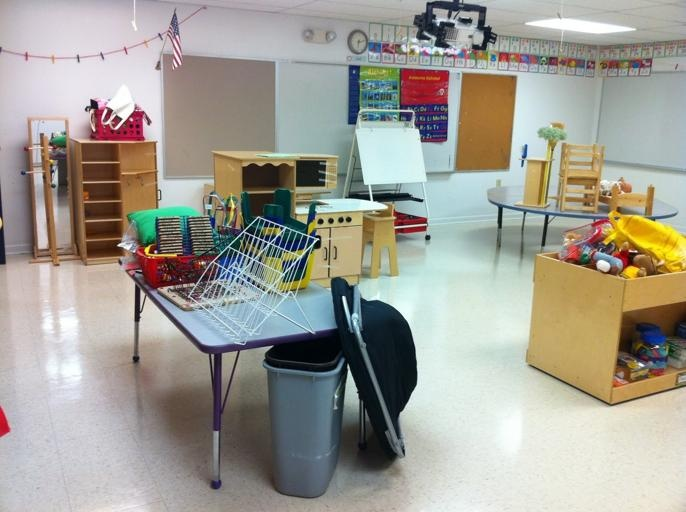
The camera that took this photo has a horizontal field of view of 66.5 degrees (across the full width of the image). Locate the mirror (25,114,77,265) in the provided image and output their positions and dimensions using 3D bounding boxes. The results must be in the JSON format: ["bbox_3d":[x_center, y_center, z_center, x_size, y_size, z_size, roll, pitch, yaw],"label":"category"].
[{"bbox_3d":[-3.456,-0.784,6.156,0.555,1.656,0.430,-6,13,-22],"label":"mirror"}]

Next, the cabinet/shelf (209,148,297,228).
[{"bbox_3d":[-0.757,-0.542,4.858,0.555,0.830,0.828,-6,17,-27],"label":"cabinet/shelf"}]

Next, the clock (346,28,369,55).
[{"bbox_3d":[0.222,-3.067,7.507,0.342,0.344,0.034,-7,13,-25],"label":"clock"}]

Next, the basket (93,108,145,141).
[{"bbox_3d":[-2.569,-1.479,6.058,0.452,0.297,0.456,-3,12,-24],"label":"basket"}]

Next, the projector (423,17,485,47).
[{"bbox_3d":[1.064,-2.070,4.998,0.484,0.230,0.486,-8,22,-24],"label":"projector"}]

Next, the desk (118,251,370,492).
[{"bbox_3d":[-0.744,0.557,3.376,1.005,0.777,1.644,-8,18,-38],"label":"desk"}]

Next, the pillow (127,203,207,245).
[{"bbox_3d":[-1.153,-0.195,3.414,0.411,0.209,0.577,-7,13,-27],"label":"pillow"}]

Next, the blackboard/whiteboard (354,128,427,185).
[{"bbox_3d":[0.689,-1.419,7.316,1.012,0.748,0.407,-6,13,-24],"label":"blackboard/whiteboard"}]

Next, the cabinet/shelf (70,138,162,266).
[{"bbox_3d":[-2.715,-0.746,6.335,0.841,1.370,0.420,-3,13,-29],"label":"cabinet/shelf"}]

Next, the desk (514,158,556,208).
[{"bbox_3d":[2.434,-0.918,6.563,0.520,0.755,0.526,6,12,24],"label":"desk"}]

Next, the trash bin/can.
[{"bbox_3d":[-0.180,0.835,2.767,0.425,0.741,0.381,-1,12,0],"label":"trash bin/can"}]

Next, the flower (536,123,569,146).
[{"bbox_3d":[2.619,-1.540,6.539,0.292,0.253,0.609,3,12,19],"label":"flower"}]

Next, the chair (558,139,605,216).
[{"bbox_3d":[3.224,-1.104,7.127,0.484,0.801,2.187,4,12,23],"label":"chair"}]

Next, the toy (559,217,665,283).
[{"bbox_3d":[1.766,-0.047,3.606,0.467,0.163,0.505,-8,22,-32],"label":"toy"}]

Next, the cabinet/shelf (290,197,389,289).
[{"bbox_3d":[0.055,0.040,5.554,1.022,0.795,0.648,-4,-21,15],"label":"cabinet/shelf"}]

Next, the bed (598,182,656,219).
[{"bbox_3d":[3.522,-0.738,6.536,0.405,0.334,0.713,-1,13,-4],"label":"bed"}]
